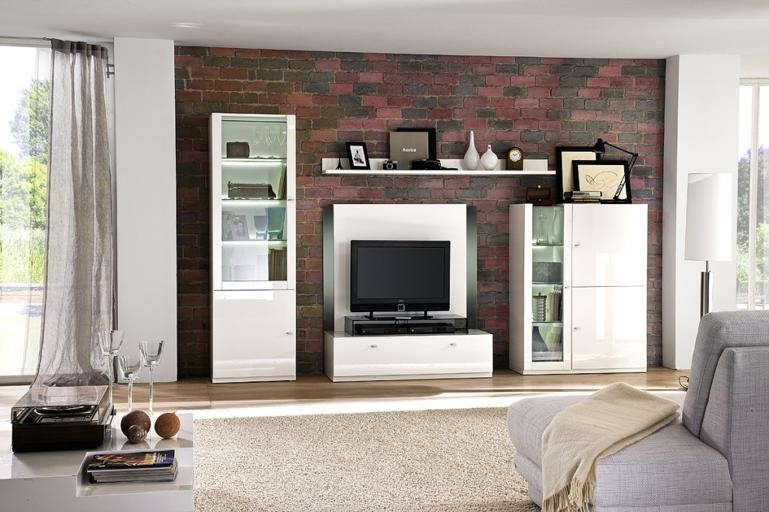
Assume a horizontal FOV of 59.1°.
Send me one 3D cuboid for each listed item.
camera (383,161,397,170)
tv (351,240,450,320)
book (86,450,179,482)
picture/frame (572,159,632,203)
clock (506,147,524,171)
[{"bbox_3d":[0.058,-0.941,6.980,0.165,0.099,0.087,0,-2,-4],"label":"camera"},{"bbox_3d":[0.127,0.232,6.916,0.960,0.604,0.092,0,1,-6],"label":"tv"},{"bbox_3d":[-1.357,1.142,3.661,0.254,0.052,0.234,0,0,-1],"label":"book"},{"bbox_3d":[2.295,-0.791,7.161,0.537,0.389,0.042,1,-8,-4],"label":"picture/frame"},{"bbox_3d":[1.387,-1.043,7.175,0.170,0.239,0.107,1,9,0],"label":"clock"}]
